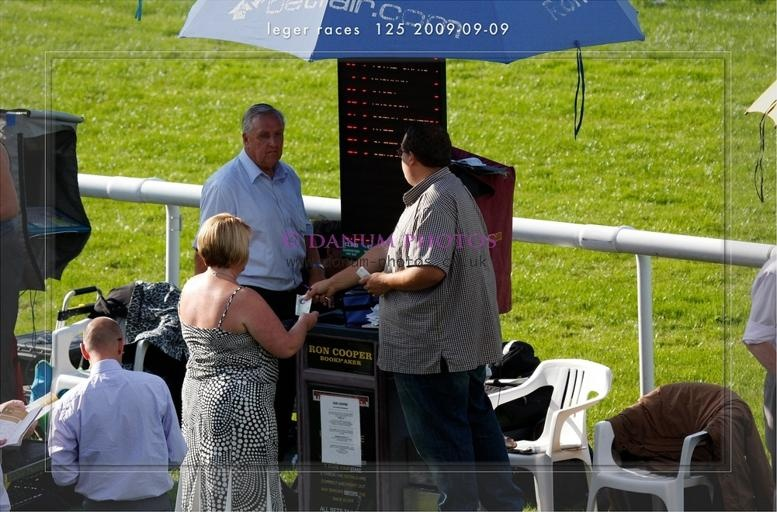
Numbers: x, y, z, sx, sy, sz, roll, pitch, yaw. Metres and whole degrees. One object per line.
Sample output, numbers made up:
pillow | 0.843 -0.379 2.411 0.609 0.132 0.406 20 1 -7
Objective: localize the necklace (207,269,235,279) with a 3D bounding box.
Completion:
necklace | -0.870 0.077 9.827 0.134 0.043 0.042 1 15 -3

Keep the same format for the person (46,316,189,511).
person | -1.396 0.806 9.781 0.688 0.961 0.244 0 16 -10

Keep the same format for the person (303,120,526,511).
person | 0.312 0.337 9.881 0.790 1.961 0.496 15 20 39

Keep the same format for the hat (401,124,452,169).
hat | 0.199 -0.579 9.879 0.215 0.240 0.231 -4 24 -25

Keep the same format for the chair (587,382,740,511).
chair | 1.530 1.016 9.963 0.755 0.620 0.711 -6 -7 45
